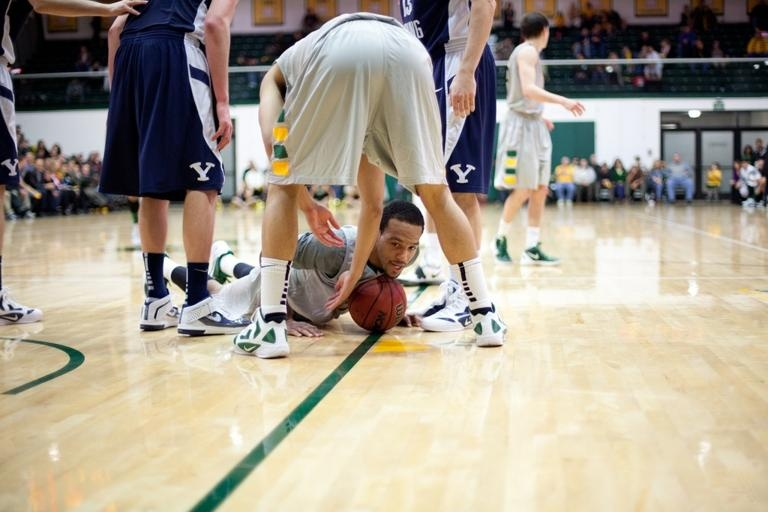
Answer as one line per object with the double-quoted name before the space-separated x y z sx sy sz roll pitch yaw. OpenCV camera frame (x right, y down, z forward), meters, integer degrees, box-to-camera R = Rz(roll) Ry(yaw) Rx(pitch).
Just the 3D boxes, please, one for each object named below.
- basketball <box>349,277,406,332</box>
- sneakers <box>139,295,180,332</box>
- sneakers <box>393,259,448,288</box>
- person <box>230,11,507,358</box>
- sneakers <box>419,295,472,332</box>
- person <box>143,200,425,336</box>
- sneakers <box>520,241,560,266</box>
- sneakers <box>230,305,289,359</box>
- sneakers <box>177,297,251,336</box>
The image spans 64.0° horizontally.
"basketball" -0.042 0.195 2.781 0.238 0.256 0.237 5 -1 -4
"sneakers" -1.059 0.279 2.916 0.093 0.134 0.224 2 3 16
"sneakers" 0.260 0.136 4.218 0.390 0.195 0.137 1 4 1
"person" -0.116 -0.294 2.463 1.012 1.358 0.414 -4 10 -14
"sneakers" 0.240 0.284 2.907 0.313 0.150 0.109 -2 -4 -9
"person" -0.455 0.046 3.026 1.248 0.579 0.665 1 6 25
"sneakers" 1.183 0.011 4.810 0.324 0.205 0.122 0 0 1
"sneakers" -0.476 0.334 2.524 0.264 0.193 0.128 3 -3 27
"sneakers" -0.803 0.288 2.902 0.395 0.202 0.134 2 2 -25
